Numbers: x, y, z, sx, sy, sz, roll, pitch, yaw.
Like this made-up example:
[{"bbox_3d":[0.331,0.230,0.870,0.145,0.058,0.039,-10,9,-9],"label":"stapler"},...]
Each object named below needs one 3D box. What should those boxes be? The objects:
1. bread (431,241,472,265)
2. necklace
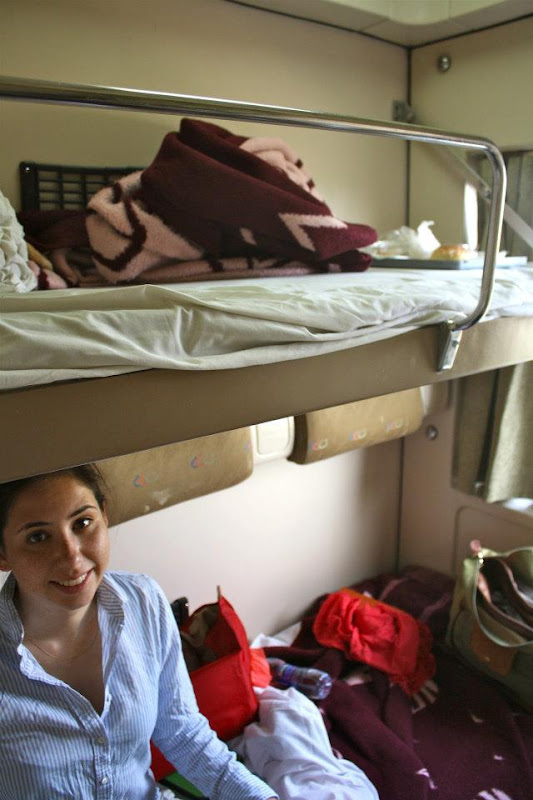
[{"bbox_3d":[0.597,-0.465,2.013,0.102,0.053,0.140,1,10,37],"label":"bread"},{"bbox_3d":[-0.372,0.425,1.111,0.121,0.089,0.061,3,-30,26],"label":"necklace"}]
